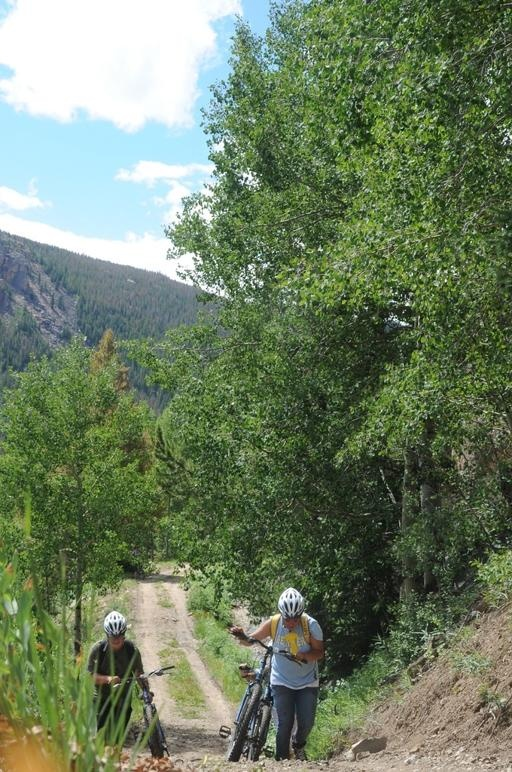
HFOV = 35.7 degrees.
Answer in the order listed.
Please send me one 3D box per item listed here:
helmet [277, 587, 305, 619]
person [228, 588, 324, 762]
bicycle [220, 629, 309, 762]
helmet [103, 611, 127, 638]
[{"bbox_3d":[0.350,2.142,7.960,0.206,0.309,0.178,-1,-51,2],"label":"helmet"},{"bbox_3d":[0.247,2.957,8.078,0.783,1.331,0.866,7,-4,5],"label":"person"},{"bbox_3d":[-0.093,3.466,8.604,0.845,1.226,2.022,20,-23,5],"label":"bicycle"},{"bbox_3d":[-1.378,2.322,7.763,0.195,0.298,0.194,4,-44,-9],"label":"helmet"}]
